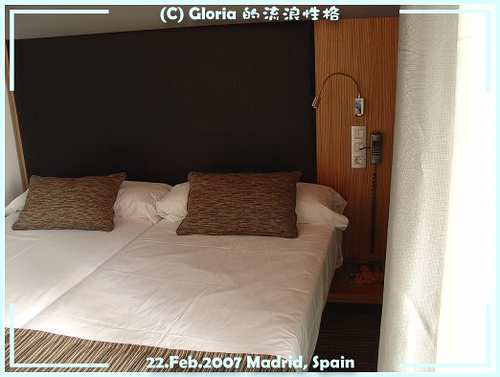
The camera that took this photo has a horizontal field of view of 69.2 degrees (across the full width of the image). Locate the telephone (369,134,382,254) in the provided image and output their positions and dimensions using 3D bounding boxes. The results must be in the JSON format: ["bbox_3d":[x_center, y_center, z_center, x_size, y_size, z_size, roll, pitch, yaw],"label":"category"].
[{"bbox_3d":[1.071,0.034,3.174,0.151,0.991,0.158,2,-1,33],"label":"telephone"}]
